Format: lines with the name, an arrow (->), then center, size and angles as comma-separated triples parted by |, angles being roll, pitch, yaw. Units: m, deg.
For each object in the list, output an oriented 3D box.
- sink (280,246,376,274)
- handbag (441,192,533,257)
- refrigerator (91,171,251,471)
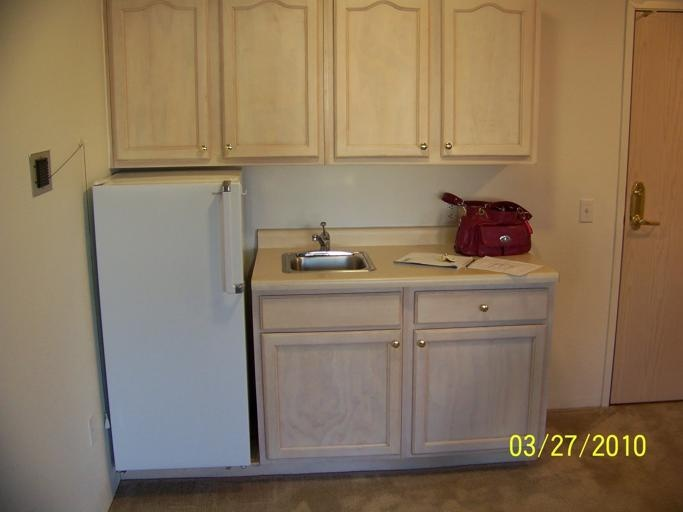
sink -> -0.079, 0.045, 3.039 | 0.482, 0.109, 0.357 | -2, 11, -6
handbag -> 0.849, -0.171, 3.257 | 0.464, 0.348, 0.553 | 1, 11, 12
refrigerator -> -0.918, 0.401, 2.988 | 0.746, 1.484, 0.804 | -12, -9, 2
